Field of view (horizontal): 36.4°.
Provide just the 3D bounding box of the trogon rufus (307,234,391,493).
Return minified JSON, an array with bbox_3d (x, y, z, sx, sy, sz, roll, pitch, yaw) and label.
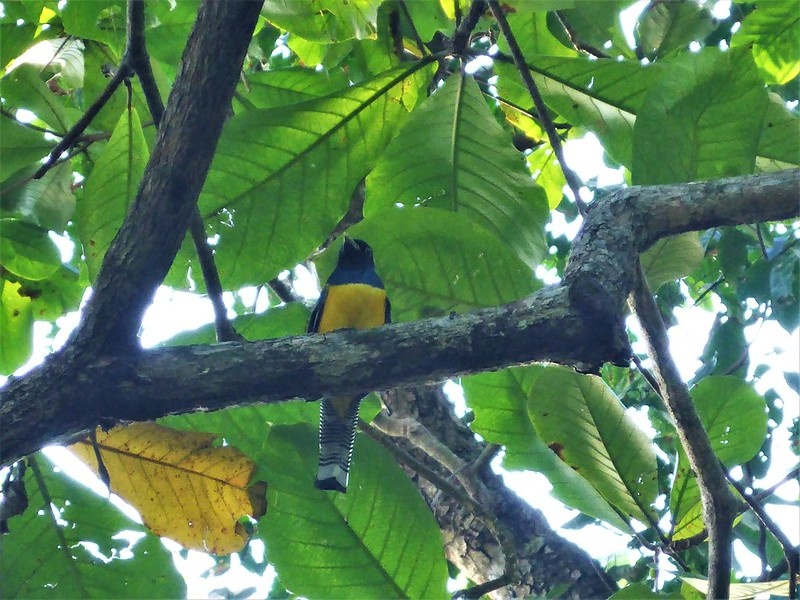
[{"bbox_3d":[-0.256,0.308,5.390,0.326,1.074,0.432,8,-14,-14],"label":"trogon rufus"}]
